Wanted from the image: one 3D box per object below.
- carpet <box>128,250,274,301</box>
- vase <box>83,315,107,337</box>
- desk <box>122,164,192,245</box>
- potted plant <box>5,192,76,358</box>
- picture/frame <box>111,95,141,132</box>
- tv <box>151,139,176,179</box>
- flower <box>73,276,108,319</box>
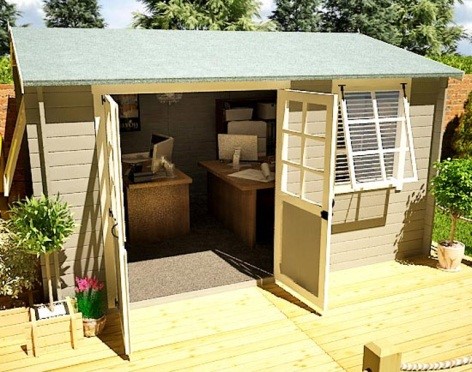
[{"bbox_3d":[-0.652,1.282,5.940,1.910,0.044,1.245,-5,16,-17],"label":"carpet"},{"bbox_3d":[-1.641,1.615,4.507,0.239,0.136,0.219,-1,11,-10],"label":"vase"},{"bbox_3d":[-1.709,0.309,7.337,1.171,1.076,1.628,-4,16,-24],"label":"desk"},{"bbox_3d":[-2.016,0.894,4.399,0.840,1.581,0.915,-2,15,-27],"label":"potted plant"},{"bbox_3d":[-2.444,-1.648,8.925,0.543,0.827,0.317,-5,18,-14],"label":"picture/frame"},{"bbox_3d":[-1.298,-0.511,7.090,0.326,0.638,0.532,-7,20,-36],"label":"tv"},{"bbox_3d":[-1.694,1.252,4.630,0.401,0.469,0.325,0,16,-14],"label":"flower"}]
